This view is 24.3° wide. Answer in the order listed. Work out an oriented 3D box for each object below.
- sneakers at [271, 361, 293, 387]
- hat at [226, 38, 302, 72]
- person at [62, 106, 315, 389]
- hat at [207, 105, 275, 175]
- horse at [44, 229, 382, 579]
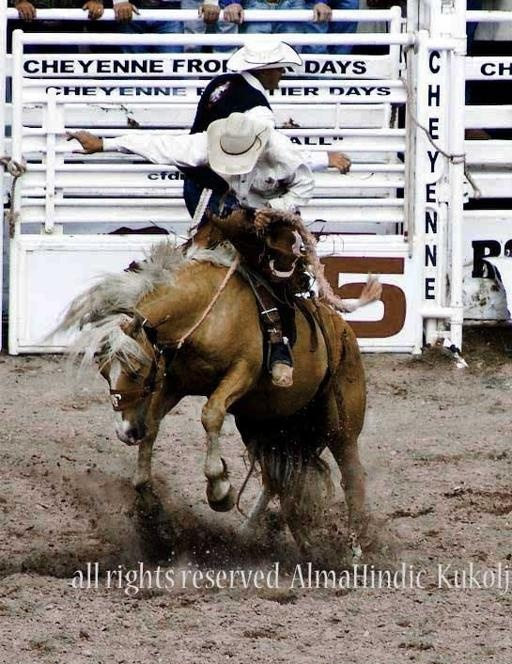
[{"bbox_3d":[0.136,0.214,5.980,0.095,0.064,0.127,0,23,-3],"label":"sneakers"},{"bbox_3d":[0.046,-1.424,6.123,0.236,0.079,0.280,3,24,25],"label":"hat"},{"bbox_3d":[-0.236,-0.437,5.937,1.025,1.373,0.540,2,5,2],"label":"person"},{"bbox_3d":[-0.095,-0.958,5.715,0.332,0.152,0.404,21,51,18],"label":"hat"},{"bbox_3d":[-0.119,0.290,6.240,0.610,1.552,2.488,-5,-13,38],"label":"horse"}]
